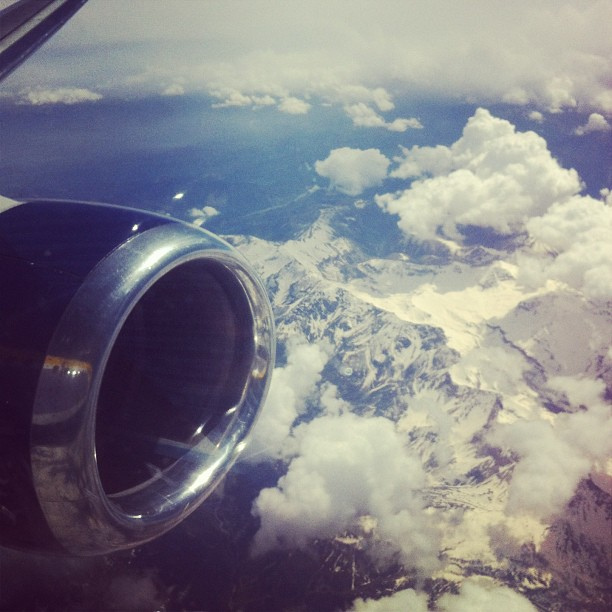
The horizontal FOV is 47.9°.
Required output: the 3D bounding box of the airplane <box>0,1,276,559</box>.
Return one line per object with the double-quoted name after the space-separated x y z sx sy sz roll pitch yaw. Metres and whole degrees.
-3.451 1.629 14.047 5.277 5.822 4.246 5 34 -6 "airplane"
